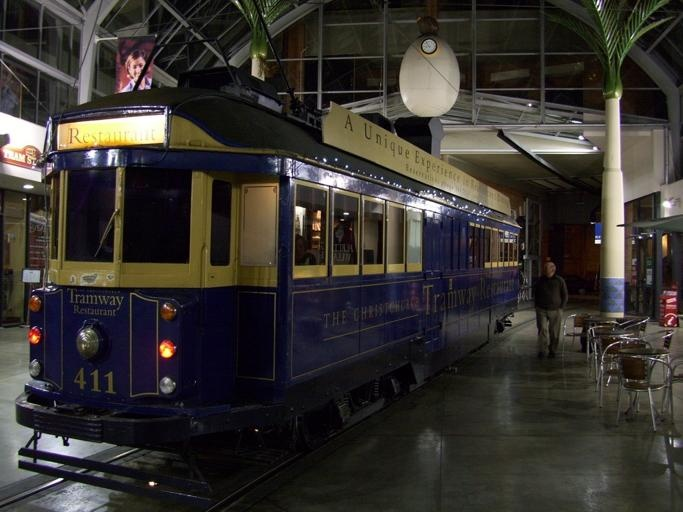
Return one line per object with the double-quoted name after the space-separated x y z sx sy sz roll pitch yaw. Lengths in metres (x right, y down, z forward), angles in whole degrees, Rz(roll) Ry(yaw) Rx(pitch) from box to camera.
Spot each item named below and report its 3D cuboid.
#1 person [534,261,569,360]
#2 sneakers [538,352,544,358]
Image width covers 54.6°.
4.876 1.251 15.469 0.705 2.243 1.424 1 3 17 "person"
4.631 2.298 15.358 0.154 0.174 0.091 -2 -6 25 "sneakers"
